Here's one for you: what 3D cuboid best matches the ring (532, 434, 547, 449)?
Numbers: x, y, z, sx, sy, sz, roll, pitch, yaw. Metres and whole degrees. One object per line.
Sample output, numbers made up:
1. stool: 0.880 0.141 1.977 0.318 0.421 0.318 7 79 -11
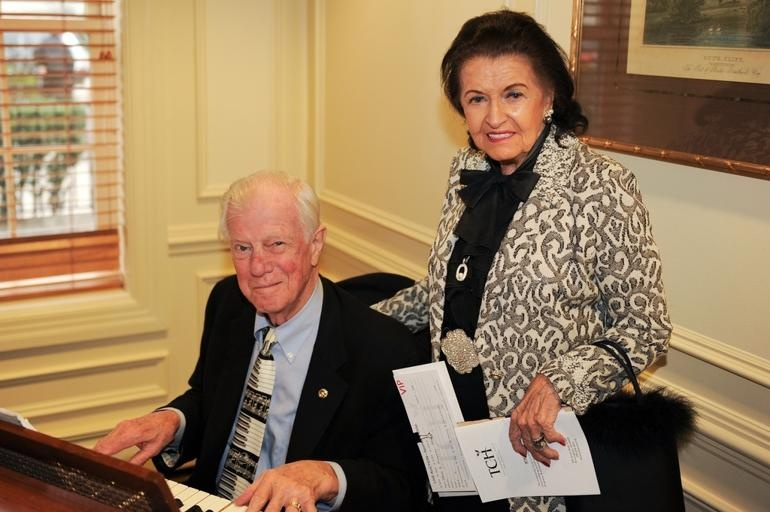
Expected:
1. ring: 0.468 0.559 1.750 0.035 0.024 0.047 6 -13 3
